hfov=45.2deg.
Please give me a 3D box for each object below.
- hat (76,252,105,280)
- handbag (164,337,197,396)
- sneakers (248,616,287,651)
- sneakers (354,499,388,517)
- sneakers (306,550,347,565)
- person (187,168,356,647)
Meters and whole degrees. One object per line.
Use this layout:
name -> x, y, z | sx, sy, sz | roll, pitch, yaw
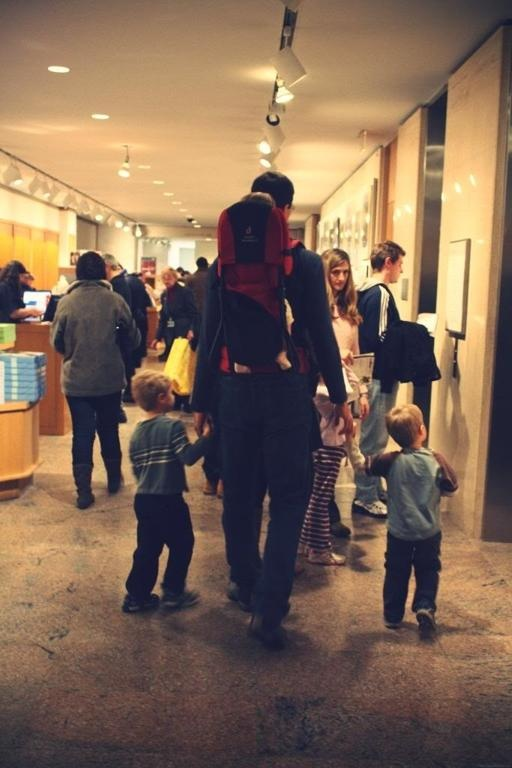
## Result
hat -> -0.954, -0.655, 3.565 | 0.138, 0.184, 0.161 | 0, 4, -19
handbag -> -0.577, -0.137, 4.833 | 0.189, 0.424, 0.422 | -1, 28, 4
sneakers -> 0.042, 0.763, 1.946 | 0.121, 0.124, 0.095 | -5, 3, 8
sneakers -> 0.630, 0.689, 3.428 | 0.230, 0.094, 0.086 | -1, -2, 31
sneakers -> 0.305, 0.756, 2.712 | 0.183, 0.079, 0.066 | 0, 0, -8
person -> 0.044, 0.097, 1.886 | 0.469, 1.479, 0.444 | 1, 4, -9
